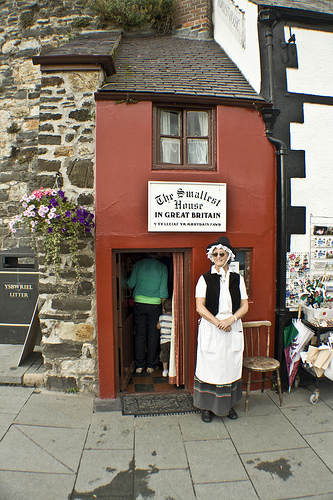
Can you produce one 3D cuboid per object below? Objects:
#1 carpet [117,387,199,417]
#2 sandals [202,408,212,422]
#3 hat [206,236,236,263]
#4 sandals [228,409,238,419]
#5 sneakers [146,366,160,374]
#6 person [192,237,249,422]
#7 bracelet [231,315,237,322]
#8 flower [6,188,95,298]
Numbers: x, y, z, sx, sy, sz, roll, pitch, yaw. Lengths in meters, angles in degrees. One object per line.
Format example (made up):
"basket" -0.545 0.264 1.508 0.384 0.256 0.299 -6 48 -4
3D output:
"carpet" -0.109 1.800 5.472 0.848 0.103 0.623 0 15 -8
"sandals" 0.445 1.821 5.119 0.079 0.090 0.134 1 -8 5
"hat" 0.624 0.007 5.092 0.252 0.315 0.120 -5 37 15
"sandals" 0.735 1.810 5.131 0.068 0.059 0.125 -1 -3 1
"sneakers" -0.191 1.671 6.565 0.068 0.088 0.213 3 8 27
"person" 0.593 0.878 5.055 0.577 1.981 0.568 -2 14 -13
"bracelet" 0.718 0.717 4.893 0.049 0.069 0.031 -7 -4 -2
"flower" -1.254 -0.182 5.572 0.866 1.189 0.556 6 27 -6
